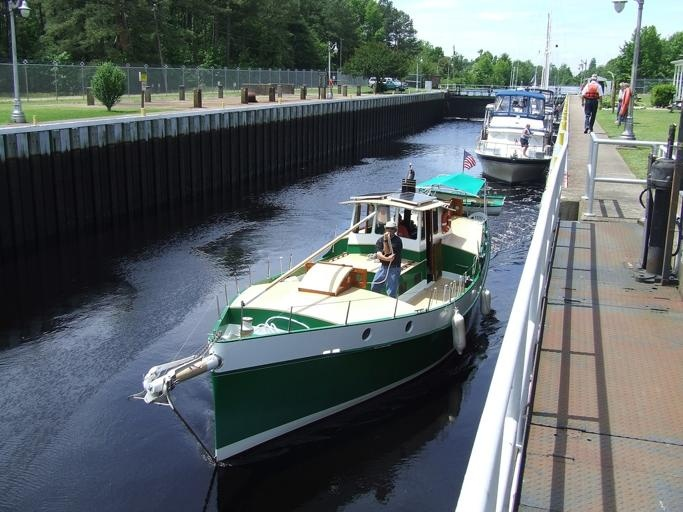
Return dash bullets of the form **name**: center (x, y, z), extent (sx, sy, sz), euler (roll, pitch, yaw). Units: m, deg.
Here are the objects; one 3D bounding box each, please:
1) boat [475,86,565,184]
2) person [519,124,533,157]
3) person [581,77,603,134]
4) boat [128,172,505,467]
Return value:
- **boat**: center (9.092, -5.772, 29.552), extent (2.913, 3.073, 8.194), euler (6, 41, 19)
- **person**: center (9.353, -5.926, 28.453), extent (0.506, 1.515, 1.416), euler (7, 15, 18)
- **person**: center (10.861, -6.612, 24.287), extent (0.846, 2.397, 0.856), euler (12, 19, 37)
- **boat**: center (0.743, 0.669, 11.015), extent (3.090, 2.870, 8.980), euler (6, 17, 28)
